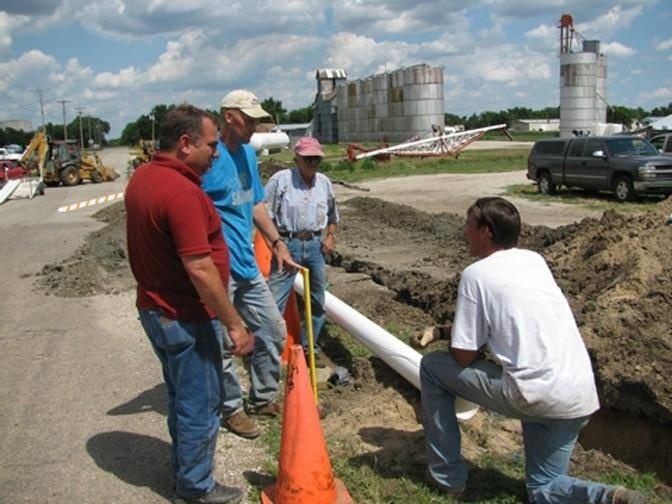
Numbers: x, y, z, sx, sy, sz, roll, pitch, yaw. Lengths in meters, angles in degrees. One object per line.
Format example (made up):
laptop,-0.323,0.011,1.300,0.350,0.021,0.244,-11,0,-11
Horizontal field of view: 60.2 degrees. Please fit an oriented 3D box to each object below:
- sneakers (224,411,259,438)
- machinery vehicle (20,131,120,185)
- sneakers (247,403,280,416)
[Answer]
sneakers,-0.802,1.433,4.914,0.313,0.143,0.161,13,20,34
machinery vehicle,-13.251,-4.734,29.246,1.617,2.695,5.011,6,12,24
sneakers,-0.639,1.393,5.062,0.287,0.140,0.111,-2,9,-6
